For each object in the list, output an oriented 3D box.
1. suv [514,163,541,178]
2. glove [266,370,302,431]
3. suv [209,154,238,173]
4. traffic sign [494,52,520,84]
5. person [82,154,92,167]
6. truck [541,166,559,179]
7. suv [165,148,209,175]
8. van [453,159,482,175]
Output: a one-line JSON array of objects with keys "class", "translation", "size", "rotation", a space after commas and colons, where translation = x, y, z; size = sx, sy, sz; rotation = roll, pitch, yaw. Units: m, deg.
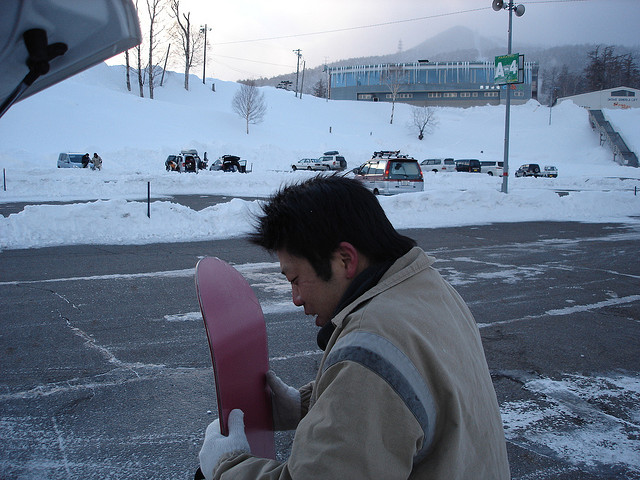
[{"class": "suv", "translation": [18.580, -6.143, 45.193], "size": [1.231, 1.295, 2.451], "rotation": [-2, 14, -9]}, {"class": "glove", "translation": [-0.166, 0.688, 2.155], "size": [0.163, 0.259, 0.104], "rotation": [-5, -15, -25]}, {"class": "suv", "translation": [-7.707, -6.067, 40.946], "size": [1.372, 1.587, 2.736], "rotation": [-8, 14, -33]}, {"class": "traffic sign", "translation": [8.011, -7.256, 21.531], "size": [0.681, 1.300, 2.195], "rotation": [1, 9, 2]}, {"class": "person", "translation": [-17.107, -5.768, 36.903], "size": [0.457, 0.913, 2.260], "rotation": [-3, 10, -22]}, {"class": "truck", "translation": [20.208, -5.926, 44.263], "size": [1.180, 0.860, 2.137], "rotation": [5, 11, 27]}, {"class": "suv", "translation": [-10.313, -6.107, 39.134], "size": [2.920, 1.481, 3.736], "rotation": [-2, 10, -17]}, {"class": "van", "translation": [13.754, -6.844, 47.183], "size": [1.677, 1.645, 2.682], "rotation": [-4, 15, -21]}]
